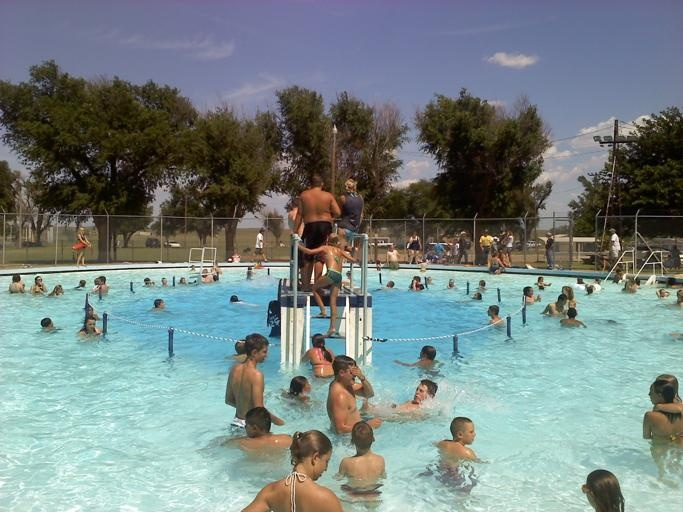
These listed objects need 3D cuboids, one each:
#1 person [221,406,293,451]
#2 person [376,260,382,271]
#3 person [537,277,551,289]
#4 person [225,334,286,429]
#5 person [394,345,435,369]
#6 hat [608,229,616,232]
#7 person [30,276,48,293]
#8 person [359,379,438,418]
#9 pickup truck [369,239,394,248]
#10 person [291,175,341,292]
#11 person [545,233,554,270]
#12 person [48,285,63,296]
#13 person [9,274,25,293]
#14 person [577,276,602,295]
[{"bbox_3d":[-1.212,2.370,9.573,1.023,0.539,0.581,0,21,5],"label":"person"},{"bbox_3d":[1.975,0.532,33.236,0.344,0.536,0.899,-1,11,-2],"label":"person"},{"bbox_3d":[7.749,1.037,24.311,0.377,0.484,1.477,0,1,24],"label":"person"},{"bbox_3d":[-1.482,2.222,11.068,0.724,2.524,0.912,-8,16,-42],"label":"person"},{"bbox_3d":[1.647,2.150,13.597,0.776,0.395,0.576,0,1,7],"label":"person"},{"bbox_3d":[13.831,-1.280,32.280,0.380,0.100,0.395,-1,-1,1],"label":"hat"},{"bbox_3d":[-10.803,1.048,22.627,0.497,1.147,0.360,2,-6,-38],"label":"person"},{"bbox_3d":[1.063,2.477,11.131,0.977,0.442,0.649,2,-9,-8],"label":"person"},{"bbox_3d":[2.482,-0.744,39.262,1.399,0.633,7.536,0,0,3],"label":"pickup truck"},{"bbox_3d":[-0.491,-0.481,13.172,0.888,2.303,0.741,4,-1,-5],"label":"person"},{"bbox_3d":[10.236,-0.200,30.950,0.311,1.634,1.224,0,1,20],"label":"person"},{"bbox_3d":[-9.633,1.169,21.382,0.463,0.369,0.693,0,1,-26],"label":"person"},{"bbox_3d":[-11.318,0.991,22.116,0.422,0.747,0.430,4,14,-13],"label":"person"},{"bbox_3d":[9.276,1.136,23.675,1.341,0.745,0.392,-4,5,-36],"label":"person"}]
